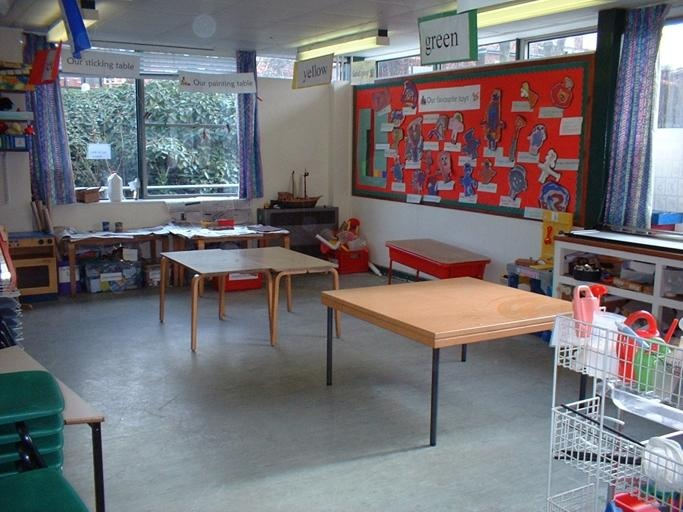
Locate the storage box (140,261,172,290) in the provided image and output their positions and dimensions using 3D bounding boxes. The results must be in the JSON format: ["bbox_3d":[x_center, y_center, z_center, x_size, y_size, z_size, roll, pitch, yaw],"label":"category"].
[{"bbox_3d":[-2.884,0.285,8.094,0.509,0.443,0.357,-1,6,-27],"label":"storage box"}]

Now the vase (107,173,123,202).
[{"bbox_3d":[-3.642,-1.111,8.289,0.223,0.440,0.291,-5,14,-23],"label":"vase"}]

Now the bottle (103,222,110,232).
[{"bbox_3d":[-3.661,-0.465,8.043,0.145,0.146,0.137,1,14,-11],"label":"bottle"}]

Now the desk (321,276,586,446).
[{"bbox_3d":[0.991,0.538,4.213,1.535,0.802,1.466,-4,12,-31],"label":"desk"}]

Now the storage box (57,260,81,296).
[{"bbox_3d":[-3.993,0.300,7.560,0.297,0.485,0.454,-6,15,-27],"label":"storage box"}]

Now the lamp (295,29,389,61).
[{"bbox_3d":[-0.018,-3.140,7.642,0.239,0.223,1.367,-4,9,-35],"label":"lamp"}]

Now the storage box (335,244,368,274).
[{"bbox_3d":[0.238,0.070,9.072,0.800,0.517,0.443,-4,8,-28],"label":"storage box"}]

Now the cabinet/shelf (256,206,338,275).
[{"bbox_3d":[-0.719,-0.279,7.922,1.258,0.951,0.402,-3,5,-27],"label":"cabinet/shelf"}]

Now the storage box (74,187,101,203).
[{"bbox_3d":[-3.953,-0.950,8.055,0.307,0.236,0.341,6,14,25],"label":"storage box"}]

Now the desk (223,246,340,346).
[{"bbox_3d":[-0.709,0.347,6.580,1.077,0.934,2.405,-4,13,-18],"label":"desk"}]
